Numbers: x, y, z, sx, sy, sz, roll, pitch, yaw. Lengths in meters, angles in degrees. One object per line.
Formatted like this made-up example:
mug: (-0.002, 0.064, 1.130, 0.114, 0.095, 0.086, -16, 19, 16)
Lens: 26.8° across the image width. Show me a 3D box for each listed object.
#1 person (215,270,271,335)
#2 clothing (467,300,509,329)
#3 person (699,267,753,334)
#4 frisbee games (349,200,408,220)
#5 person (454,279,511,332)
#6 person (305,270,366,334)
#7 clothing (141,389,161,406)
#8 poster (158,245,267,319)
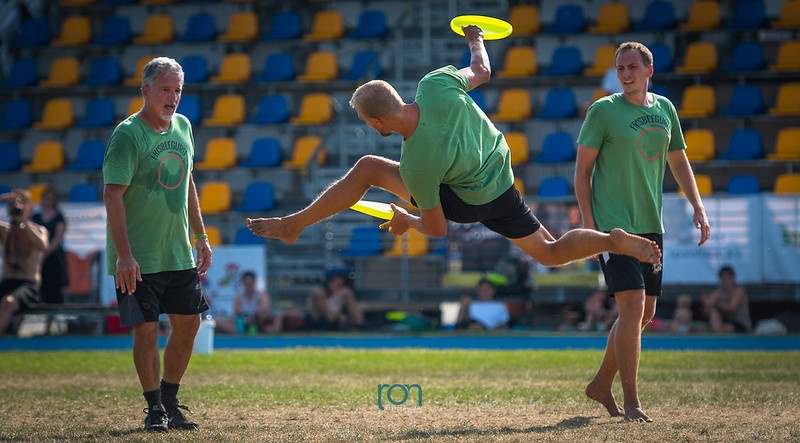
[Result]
person: (-3.478, 1.784, 36.364, 1.618, 1.284, 0.813, 1, 1, -3)
clothing: (1.981, 2.010, 36.815, 0.895, 0.345, 1.031, -7, 5, -2)
person: (7.001, 1.854, 35.237, 1.242, 1.639, 0.751, -6, 14, 9)
frisbee games: (-0.541, -0.108, 31.996, 0.792, 0.155, 0.384, 14, 14, 12)
person: (1.659, 1.745, 35.514, 1.044, 1.132, 0.730, -3, -18, 38)
person: (-1.313, 1.661, 35.526, 0.721, 1.222, 1.524, 0, -5, -34)
clothing: (-4.641, 3.255, 31.636, 0.335, 0.400, 0.325, -12, -4, 10)
poster: (-3.852, 1.356, 36.371, 1.950, 1.587, 0.125, 1, -15, -19)
